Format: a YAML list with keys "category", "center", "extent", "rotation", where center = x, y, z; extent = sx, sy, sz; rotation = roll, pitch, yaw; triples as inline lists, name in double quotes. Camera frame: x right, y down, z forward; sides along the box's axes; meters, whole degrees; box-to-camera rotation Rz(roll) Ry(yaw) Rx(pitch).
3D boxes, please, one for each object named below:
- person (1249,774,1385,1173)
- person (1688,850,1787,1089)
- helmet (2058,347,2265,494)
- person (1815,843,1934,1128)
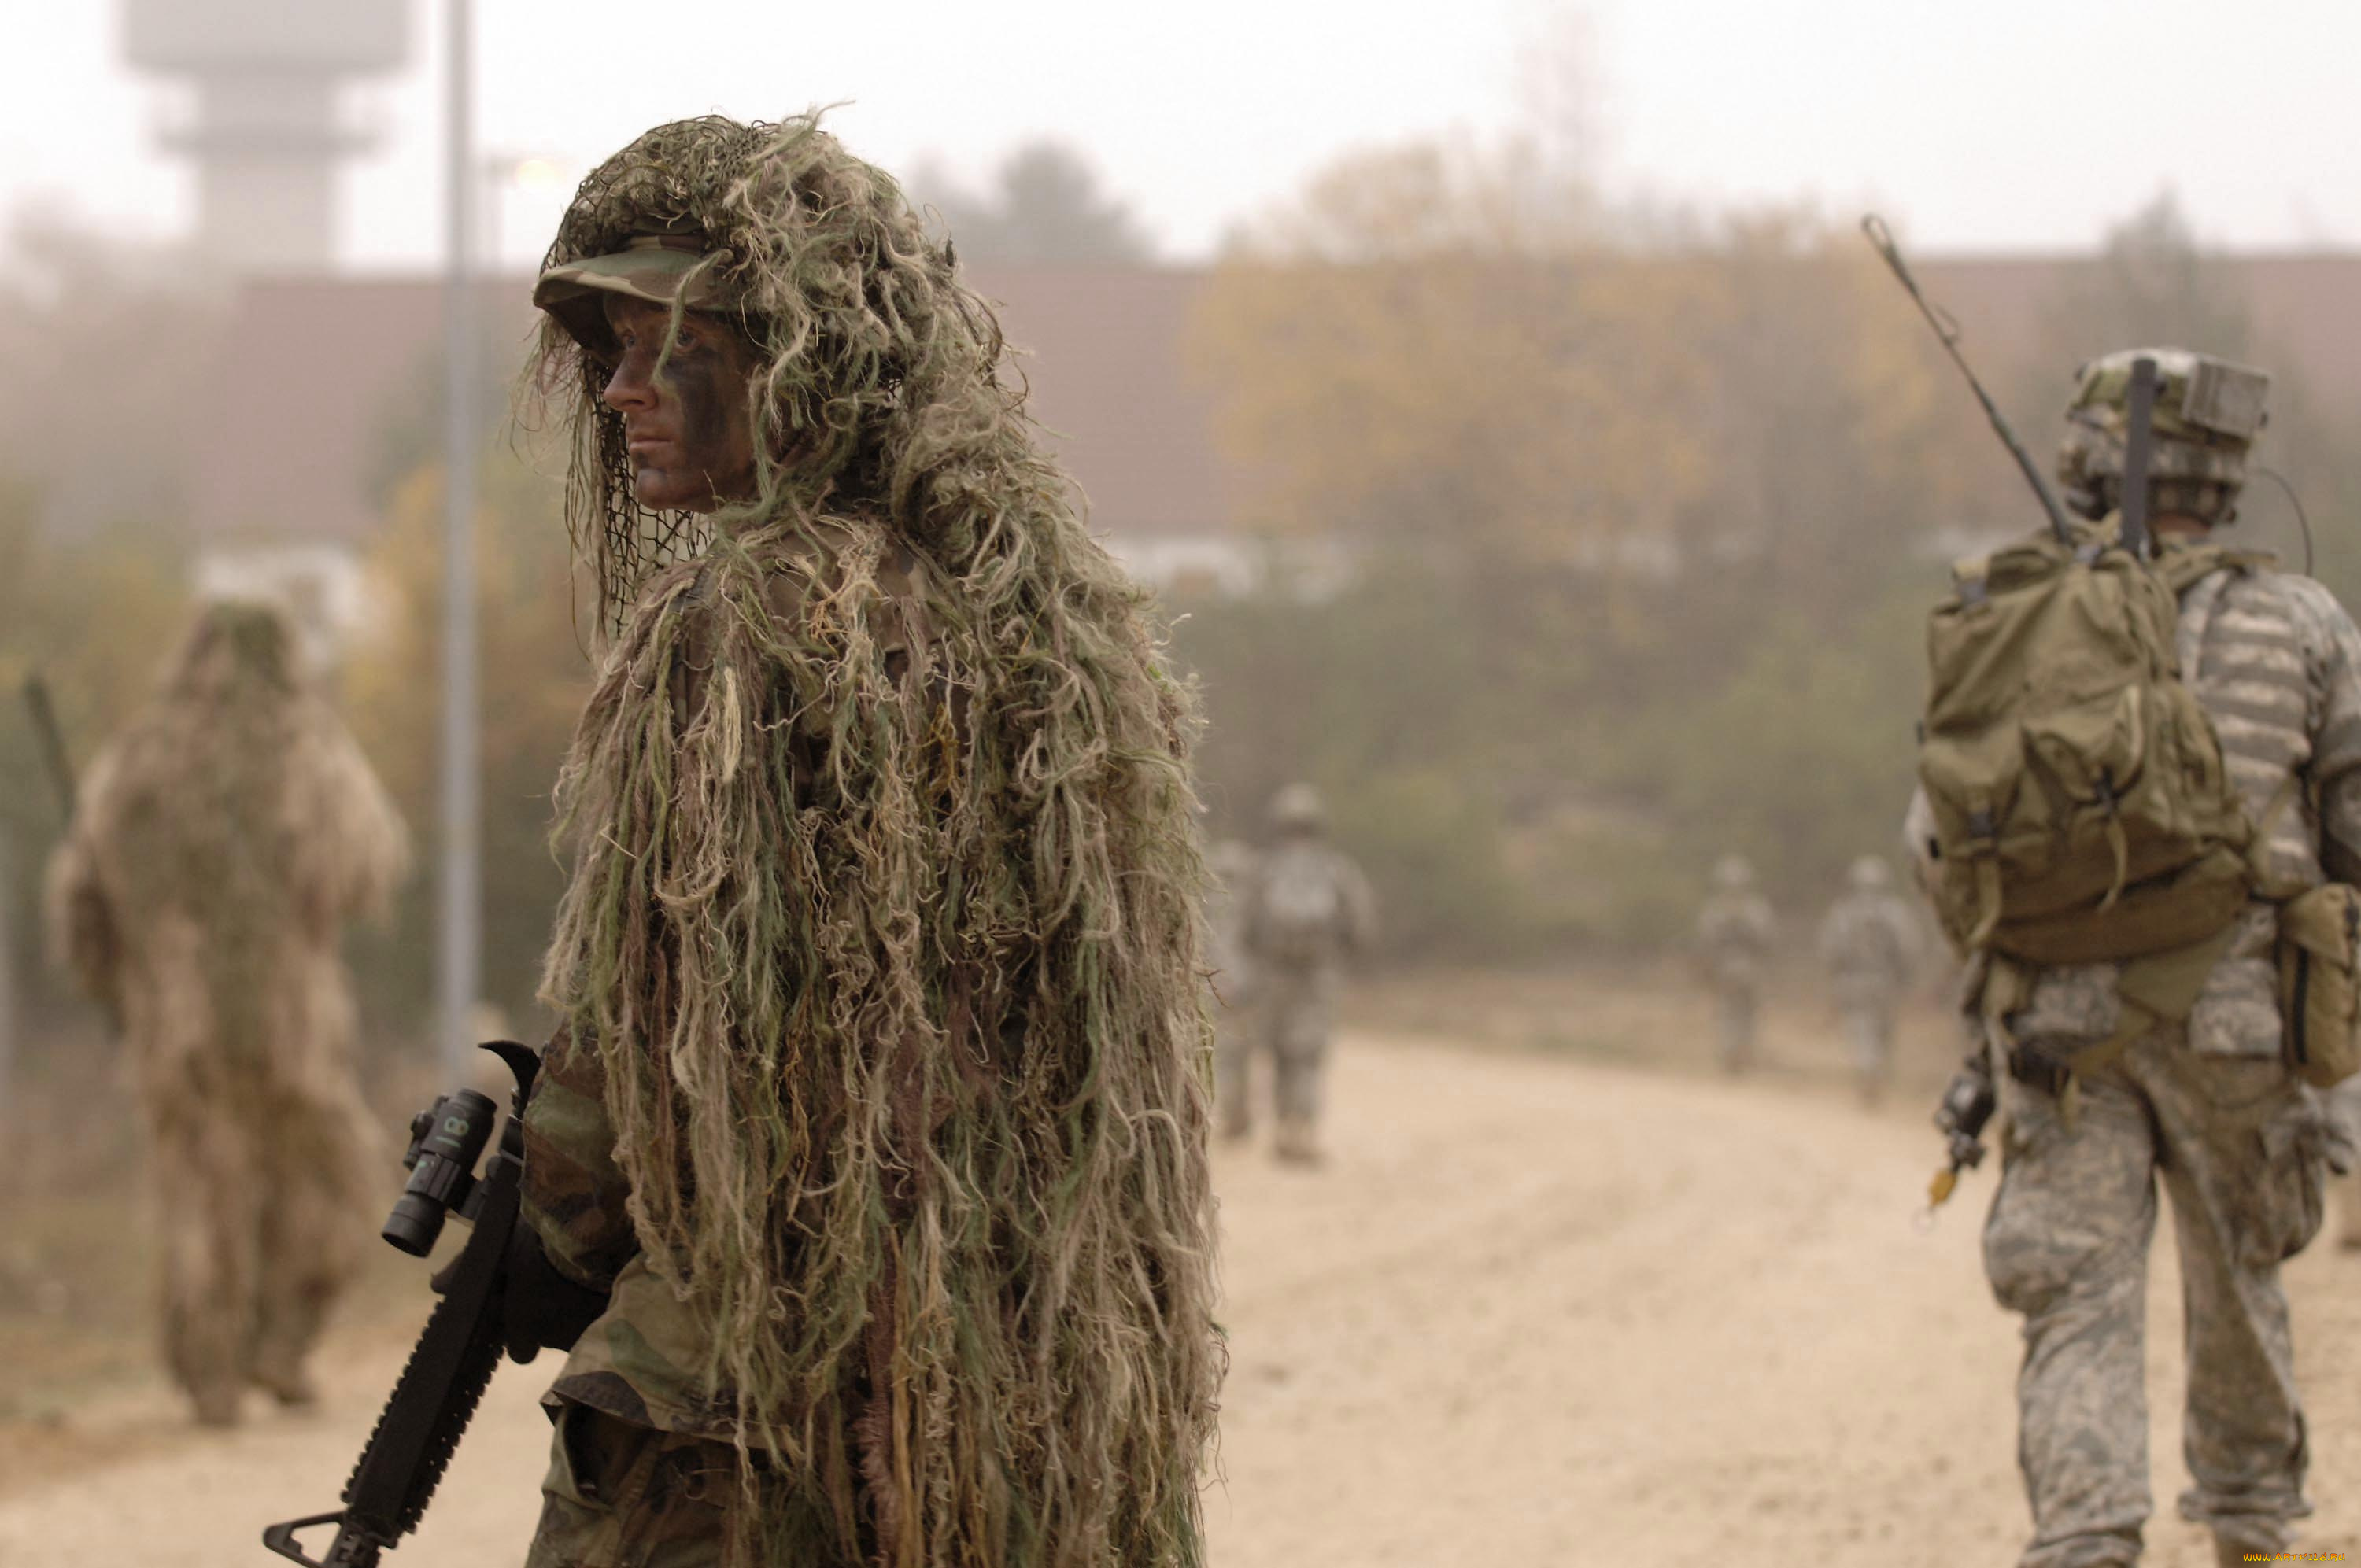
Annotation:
- category: "person"
  center: [0.447, 0.697, 22.082]
  extent: [0.503, 1.360, 0.528]
  rotation: [0, 3, 20]
- category: "person"
  center: [1.806, 0.587, 19.398]
  extent: [0.264, 0.690, 0.167]
  rotation: [-1, 3, 4]
- category: "helmet"
  center: [2.750, -0.992, 16.763]
  extent: [0.385, 0.357, 0.474]
  rotation: [2, 4, -39]
- category: "person"
  center: [2.222, 0.649, 19.417]
  extent: [0.374, 0.721, 0.459]
  rotation: [-4, -18, 6]
